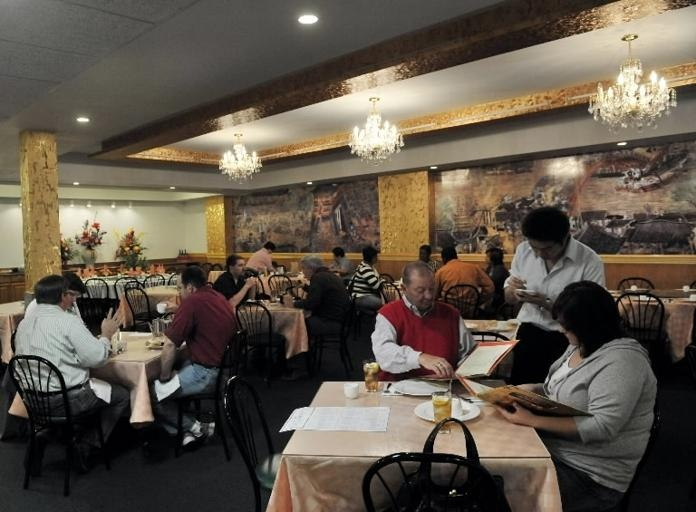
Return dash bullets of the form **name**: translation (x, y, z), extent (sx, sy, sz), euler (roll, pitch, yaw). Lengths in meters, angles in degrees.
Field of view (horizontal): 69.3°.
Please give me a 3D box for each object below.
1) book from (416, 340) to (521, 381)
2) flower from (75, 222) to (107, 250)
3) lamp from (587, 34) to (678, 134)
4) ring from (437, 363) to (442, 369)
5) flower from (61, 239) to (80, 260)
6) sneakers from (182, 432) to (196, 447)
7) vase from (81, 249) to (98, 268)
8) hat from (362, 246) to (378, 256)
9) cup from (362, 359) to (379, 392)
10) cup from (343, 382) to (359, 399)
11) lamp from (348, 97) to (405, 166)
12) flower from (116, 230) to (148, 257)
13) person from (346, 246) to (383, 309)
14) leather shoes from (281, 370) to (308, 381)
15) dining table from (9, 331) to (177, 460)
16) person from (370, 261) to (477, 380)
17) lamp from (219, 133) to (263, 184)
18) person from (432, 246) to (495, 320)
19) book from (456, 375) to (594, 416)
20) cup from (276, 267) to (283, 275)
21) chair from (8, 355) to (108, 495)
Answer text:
- **book**: translation (0.763, 0.621, 2.967), extent (0.423, 0.181, 0.292), euler (-5, -5, -4)
- **flower**: translation (-5.928, -0.449, 11.518), extent (0.539, 0.667, 0.660), euler (5, -7, 29)
- **lamp**: translation (3.303, -2.028, 5.810), extent (0.810, 1.018, 0.825), euler (-3, -12, 19)
- **ring**: translation (0.551, 0.667, 3.030), extent (0.025, 0.024, 0.006), euler (-1, -10, 34)
- **flower**: translation (-6.033, -0.119, 10.887), extent (0.452, 0.492, 0.453), euler (-2, 0, -5)
- **sneakers**: translation (-1.327, 1.536, 4.187), extent (0.084, 0.107, 0.111), euler (-2, -14, -6)
- **vase**: translation (-5.652, 0.078, 11.037), extent (0.388, 0.425, 0.394), euler (0, -4, 11)
- **hat**: translation (0.307, -0.063, 7.549), extent (0.151, 0.178, 0.195), euler (10, 17, 40)
- **cup**: translation (0.149, 0.782, 3.236), extent (0.150, 0.232, 0.149), euler (-1, -8, 0)
- **cup**: translation (0.022, 0.835, 3.112), extent (0.081, 0.067, 0.083), euler (-2, -1, 0)
- **lamp**: translation (0.412, -1.837, 7.433), extent (0.761, 0.965, 0.781), euler (-1, -11, 2)
- **flower**: translation (-5.136, -0.291, 11.862), extent (0.515, 0.661, 0.477), euler (7, -15, -8)
- **person**: translation (0.328, 0.457, 7.544), extent (0.628, 1.132, 0.505), euler (5, -2, 7)
- **leather shoes**: translation (-0.607, 1.373, 5.765), extent (0.315, 0.127, 0.099), euler (1, -2, -2)
- **dining table**: translation (-1.977, 1.050, 4.274), extent (1.001, 0.591, 1.145), euler (1, 0, 13)
- **person**: translation (0.479, 0.424, 3.405), extent (0.627, 0.835, 0.781), euler (-5, 3, -10)
- **lamp**: translation (-1.860, -1.683, 8.708), extent (0.591, 0.765, 0.585), euler (-4, 11, -5)
- **person**: translation (1.577, 0.371, 6.656), extent (0.828, 1.217, 0.698), euler (-6, 14, 8)
- **book**: translation (0.986, 0.789, 2.810), extent (0.808, 0.086, 0.606), euler (8, -5, 32)
- **cup**: translation (-1.337, 0.314, 9.992), extent (0.146, 0.141, 0.147), euler (0, -7, 0)
- **chair**: translation (-2.245, 1.198, 3.858), extent (0.648, 1.021, 0.533), euler (3, 11, 24)
